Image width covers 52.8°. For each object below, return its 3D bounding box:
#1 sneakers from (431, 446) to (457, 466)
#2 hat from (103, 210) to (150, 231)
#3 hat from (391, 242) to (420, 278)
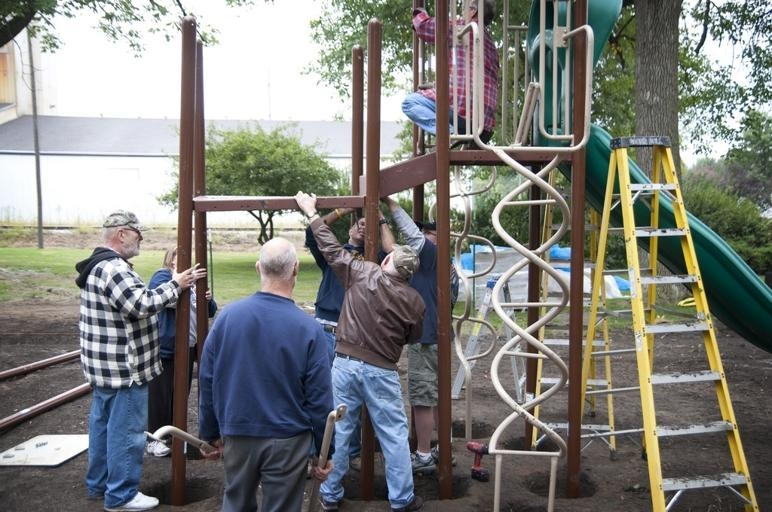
[{"bbox_3d":[0.689,2.373,9.121,0.172,0.253,0.484,0,1,-9],"label":"sneakers"},{"bbox_3d":[-2.879,-0.382,8.521,0.326,0.196,0.226,-5,4,-24],"label":"hat"},{"bbox_3d":[0.215,0.055,8.106,0.241,0.347,0.187,10,-39,-31],"label":"hat"}]
